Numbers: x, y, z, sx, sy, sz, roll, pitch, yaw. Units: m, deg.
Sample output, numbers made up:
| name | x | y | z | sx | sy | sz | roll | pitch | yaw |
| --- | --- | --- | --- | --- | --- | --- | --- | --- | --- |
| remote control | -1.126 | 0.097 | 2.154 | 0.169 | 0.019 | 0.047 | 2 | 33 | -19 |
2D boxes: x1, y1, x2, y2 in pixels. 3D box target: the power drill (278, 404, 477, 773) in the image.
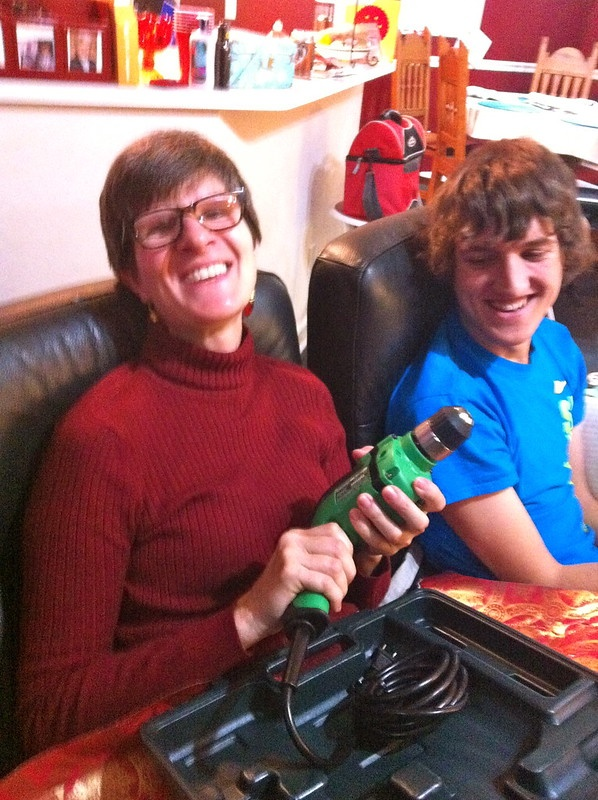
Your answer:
| name | x | y | z | sx | sy | sz | roll | pitch | yaw |
| --- | --- | --- | --- | --- | --- | --- | --- | --- | --- |
| power drill | 0.065 | 0.151 | 0.535 | 0.298 | 0.061 | 0.080 | -48 | 28 | -9 |

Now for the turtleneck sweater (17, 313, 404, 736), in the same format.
| name | x | y | z | sx | sy | sz | roll | pitch | yaw |
| --- | --- | --- | --- | --- | --- | --- | --- | --- | --- |
| turtleneck sweater | -0.103 | 0.082 | 0.596 | 0.115 | 0.311 | 0.294 | -14 | 45 | -36 |

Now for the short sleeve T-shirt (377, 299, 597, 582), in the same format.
| name | x | y | z | sx | sy | sz | roll | pitch | yaw |
| --- | --- | --- | --- | --- | --- | --- | --- | --- | --- |
| short sleeve T-shirt | 0.268 | 0.051 | 1.079 | 0.418 | 0.420 | 0.130 | 14 | -7 | -34 |
